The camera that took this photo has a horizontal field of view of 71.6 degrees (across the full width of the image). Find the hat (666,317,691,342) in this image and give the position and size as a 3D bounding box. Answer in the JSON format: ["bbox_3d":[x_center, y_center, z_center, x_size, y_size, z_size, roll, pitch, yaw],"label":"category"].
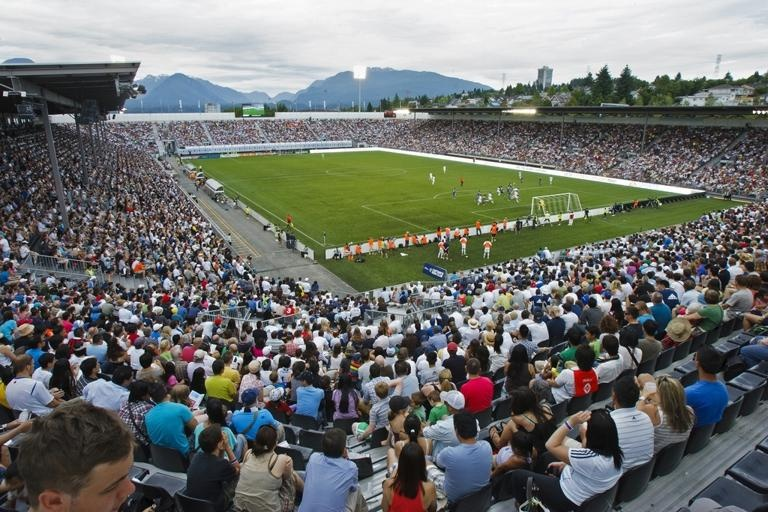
[{"bbox_3d":[7.110,1.830,12.789,0.450,0.754,0.818,9,20,29],"label":"hat"}]

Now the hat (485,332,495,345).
[{"bbox_3d":[2.810,2.177,14.005,0.230,0.246,0.440,2,17,9],"label":"hat"}]

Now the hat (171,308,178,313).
[{"bbox_3d":[-7.669,1.988,19.404,0.167,0.152,0.165,1,15,-11],"label":"hat"}]

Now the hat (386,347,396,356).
[{"bbox_3d":[0.215,2.653,14.829,0.161,0.182,0.202,10,20,33],"label":"hat"}]

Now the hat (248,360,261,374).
[{"bbox_3d":[-3.102,2.643,12.747,0.252,0.133,0.324,-2,68,-6],"label":"hat"}]

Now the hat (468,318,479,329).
[{"bbox_3d":[2.749,2.072,16.130,0.289,0.435,0.366,1,17,6],"label":"hat"}]

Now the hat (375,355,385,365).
[{"bbox_3d":[-0.097,2.606,13.340,0.179,0.258,0.197,17,62,17],"label":"hat"}]

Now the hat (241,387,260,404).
[{"bbox_3d":[-2.755,2.831,10.991,0.281,0.242,0.392,5,42,1],"label":"hat"}]

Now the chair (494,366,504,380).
[{"bbox_3d":[2.982,3.010,13.684,0.263,0.290,0.215,22,-4,-9],"label":"chair"}]

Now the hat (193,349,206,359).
[{"bbox_3d":[-4.520,2.384,13.038,0.200,0.239,0.250,11,38,-9],"label":"hat"}]

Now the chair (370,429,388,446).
[{"bbox_3d":[-0.096,3.953,11.622,0.427,0.363,0.343,2,-1,-36],"label":"chair"}]

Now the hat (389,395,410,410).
[{"bbox_3d":[0.337,2.979,10.795,0.369,0.139,0.259,-11,29,-16],"label":"hat"}]

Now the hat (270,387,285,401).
[{"bbox_3d":[-2.439,3.154,12.145,0.265,0.409,0.370,-3,17,-8],"label":"hat"}]

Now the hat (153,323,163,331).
[{"bbox_3d":[-7.275,2.311,17.174,0.328,0.106,0.233,-21,42,-15],"label":"hat"}]

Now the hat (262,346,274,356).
[{"bbox_3d":[-3.320,2.713,15.187,0.185,0.245,0.247,8,52,5],"label":"hat"}]
